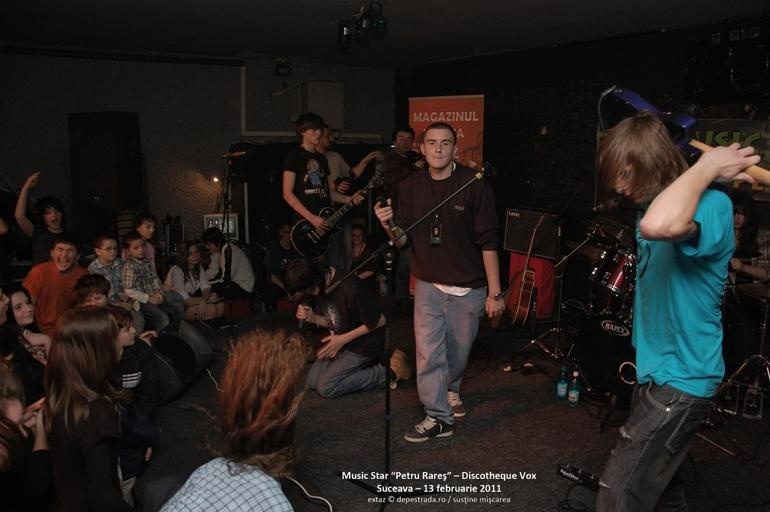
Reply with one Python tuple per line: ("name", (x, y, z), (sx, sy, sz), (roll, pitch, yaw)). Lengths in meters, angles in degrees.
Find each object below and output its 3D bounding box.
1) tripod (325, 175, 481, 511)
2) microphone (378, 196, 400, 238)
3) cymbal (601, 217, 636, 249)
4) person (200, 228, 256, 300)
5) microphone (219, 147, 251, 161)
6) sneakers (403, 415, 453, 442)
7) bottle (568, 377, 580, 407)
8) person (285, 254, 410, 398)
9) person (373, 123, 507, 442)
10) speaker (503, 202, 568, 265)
("tripod", (0.148, 0.434, 4.152), (1.105, 2.026, 1.695), (-2, 9, -6))
("microphone", (0.030, -0.273, 4.001), (0.165, 0.250, 0.061), (9, 34, 44))
("cymbal", (1.939, -0.180, 4.847), (0.268, 0.198, 0.233), (4, -30, 3))
("person", (-1.843, 0.079, 6.624), (0.741, 0.747, 0.496), (-7, 14, -8))
("microphone", (-1.631, -1.102, 6.408), (0.135, 0.186, 0.581), (-23, 21, -39))
("sneakers", (0.318, 1.228, 4.260), (0.427, 0.173, 0.140), (2, -2, -16))
("bottle", (1.504, 1.051, 4.688), (0.080, 0.212, 0.087), (-1, 9, 0))
("person", (-0.321, 0.556, 4.975), (0.922, 1.105, 0.677), (-6, 0, -13))
("person", (0.402, 0.180, 4.243), (0.988, 2.161, 0.920), (0, 6, 20))
("speaker", (1.678, -0.246, 6.388), (0.635, 0.526, 0.370), (15, 11, 37))
